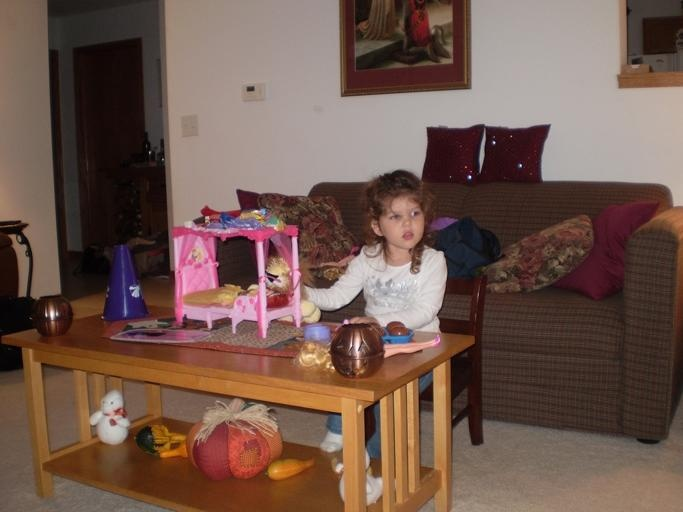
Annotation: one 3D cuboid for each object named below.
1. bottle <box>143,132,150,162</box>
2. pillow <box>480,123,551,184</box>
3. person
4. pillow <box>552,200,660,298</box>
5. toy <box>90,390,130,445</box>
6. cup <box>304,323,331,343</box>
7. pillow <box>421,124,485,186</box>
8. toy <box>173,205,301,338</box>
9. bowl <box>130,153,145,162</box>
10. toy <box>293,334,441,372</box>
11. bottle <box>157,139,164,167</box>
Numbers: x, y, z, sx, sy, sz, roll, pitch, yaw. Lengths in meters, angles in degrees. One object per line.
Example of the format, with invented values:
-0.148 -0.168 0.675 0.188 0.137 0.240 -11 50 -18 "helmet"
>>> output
-2.205 -1.245 6.676 0.085 0.327 0.314 -5 12 -18 "bottle"
1.030 -0.604 3.507 0.361 0.355 0.135 5 -11 23 "pillow"
0.108 0.209 2.178 0.615 1.009 0.396 -11 19 -39 "person"
1.226 -0.034 2.753 0.133 0.450 0.419 24 -7 -15 "pillow"
-0.882 0.612 2.258 0.150 0.192 0.125 2 2 1 "toy"
-0.077 0.241 1.841 0.060 0.038 0.061 0 3 0 "cup"
0.684 -0.616 3.694 0.343 0.413 0.157 3 -8 16 "pillow"
-0.374 0.071 2.095 0.403 0.364 0.240 4 8 30 "toy"
-2.320 -1.104 6.657 0.271 0.102 0.076 9 16 43 "bowl"
0.076 0.284 1.756 0.435 0.119 0.142 4 -25 -9 "toy"
-2.029 -1.171 6.597 0.072 0.289 0.358 -5 12 -17 "bottle"
